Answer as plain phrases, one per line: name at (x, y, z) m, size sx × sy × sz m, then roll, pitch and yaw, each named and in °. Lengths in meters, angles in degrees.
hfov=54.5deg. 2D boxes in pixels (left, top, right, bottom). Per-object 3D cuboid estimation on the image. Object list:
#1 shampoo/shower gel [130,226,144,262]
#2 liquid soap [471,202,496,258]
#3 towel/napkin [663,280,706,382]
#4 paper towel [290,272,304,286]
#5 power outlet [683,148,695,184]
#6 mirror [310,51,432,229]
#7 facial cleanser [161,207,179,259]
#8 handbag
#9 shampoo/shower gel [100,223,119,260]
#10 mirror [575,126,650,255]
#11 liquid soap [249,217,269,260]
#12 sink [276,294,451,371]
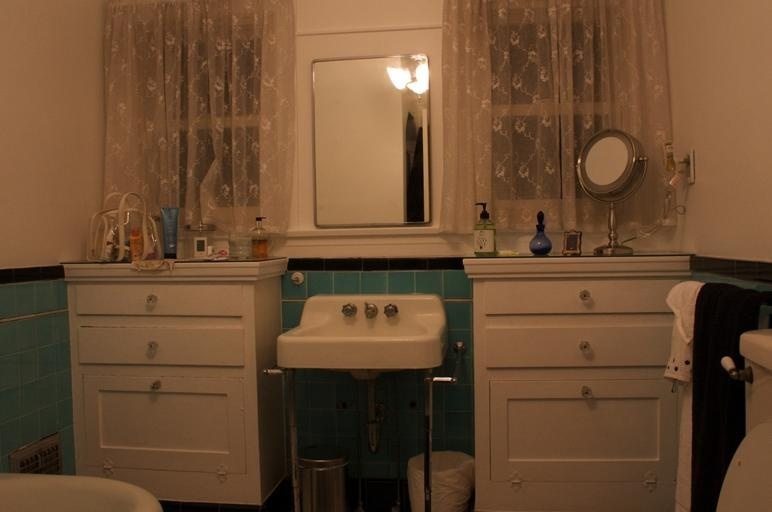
shampoo/shower gel at (-1.401, -0.068, 4.215) m, size 0.077 × 0.174 × 0.069 m, roll 0°, pitch 1°, yaw -21°
liquid soap at (0.548, -0.148, 4.087) m, size 0.121 × 0.297 × 0.206 m, roll 0°, pitch 1°, yaw 7°
towel/napkin at (1.384, 0.348, 3.471) m, size 0.141 × 0.454 × 0.109 m, roll 1°, pitch 1°, yaw 30°
paper towel at (-0.509, 0.130, 4.326) m, size 0.061 × 0.071 × 0.017 m, roll -8°, pitch 7°, yaw 9°
power outlet at (1.628, -0.474, 3.976) m, size 0.060 × 0.182 × 0.068 m, roll 1°, pitch 1°, yaw 44°
mirror at (-0.078, -0.727, 4.324) m, size 0.742 × 1.126 × 0.042 m, roll -10°, pitch -33°, yaw 13°
facial cleanser at (-1.243, -0.135, 4.317) m, size 0.096 × 0.290 × 0.164 m, roll 0°, pitch 1°, yaw -16°
handbag at (-1.515, -0.127, 4.397) m, size 0.375 × 0.425 × 0.388 m, roll -1°, pitch -11°, yaw -1°
shampoo/shower gel at (-1.550, -0.070, 4.213) m, size 0.085 × 0.173 × 0.039 m, roll 3°, pitch -6°, yaw -7°
mirror at (1.230, -0.434, 4.071) m, size 0.363 × 0.495 × 0.147 m, roll 0°, pitch 1°, yaw 17°
liquid soap at (-0.709, -0.102, 4.223) m, size 0.099 × 0.236 × 0.233 m, roll 0°, pitch 1°, yaw -10°
sink at (-0.111, 0.415, 3.983) m, size 0.871 × 0.385 × 0.554 m, roll 0°, pitch 1°, yaw 4°
